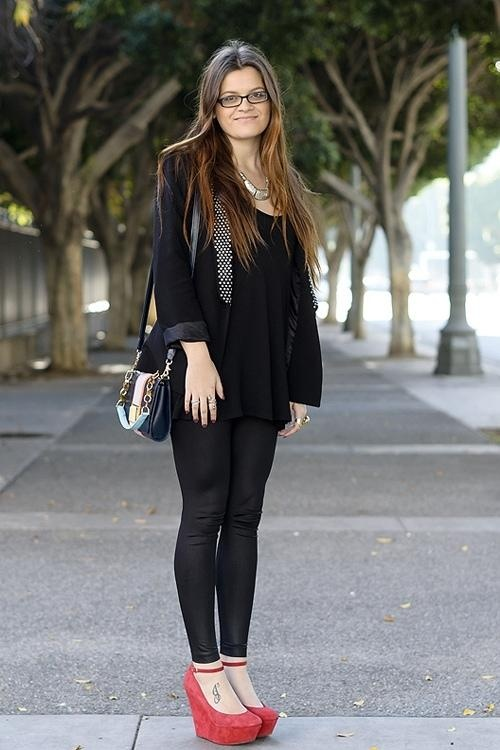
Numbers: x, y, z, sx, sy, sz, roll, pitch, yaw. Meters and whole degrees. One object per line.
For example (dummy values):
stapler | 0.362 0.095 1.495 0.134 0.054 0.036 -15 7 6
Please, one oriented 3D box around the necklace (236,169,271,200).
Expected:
necklace | 0.001 -0.466 2.121 0.026 0.070 0.073 -28 -10 27

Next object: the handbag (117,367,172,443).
handbag | -0.258 0.071 2.078 0.092 0.163 0.184 -1 8 -33

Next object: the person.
person | -0.032 0.024 2.132 0.449 1.742 0.333 -1 3 -7

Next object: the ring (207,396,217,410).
ring | -0.090 0.066 1.995 0.024 0.031 0.013 0 5 -23

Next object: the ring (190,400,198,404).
ring | -0.129 0.065 1.986 0.011 0.010 0.013 -3 -10 5

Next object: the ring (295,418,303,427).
ring | 0.135 0.128 2.267 0.018 0.023 0.010 1 0 2
